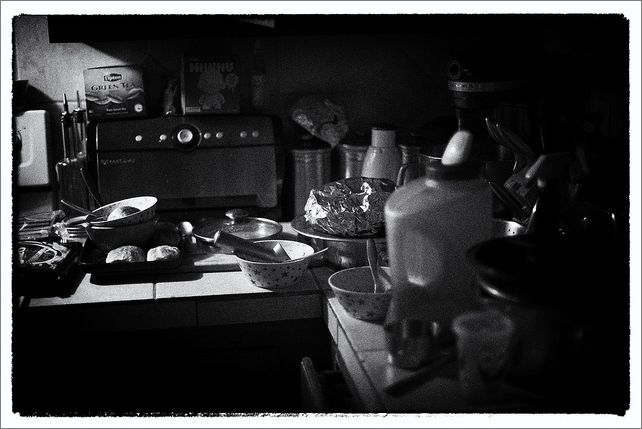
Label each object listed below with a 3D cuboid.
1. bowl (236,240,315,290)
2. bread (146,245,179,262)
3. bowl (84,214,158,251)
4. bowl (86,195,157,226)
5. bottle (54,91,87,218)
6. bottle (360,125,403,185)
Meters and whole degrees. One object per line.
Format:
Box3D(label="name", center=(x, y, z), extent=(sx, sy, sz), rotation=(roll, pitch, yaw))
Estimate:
Box3D(label="bowl", center=(-0.076, 0.125, 1.365), extent=(0.256, 0.093, 0.255), rotation=(-6, 2, 0))
Box3D(label="bread", center=(-0.422, 0.104, 1.369), extent=(0.081, 0.031, 0.084), rotation=(8, 10, 36))
Box3D(label="bowl", center=(-0.556, 0.053, 1.437), extent=(0.183, 0.092, 0.110), rotation=(0, 9, -17))
Box3D(label="bowl", center=(-0.576, -0.009, 1.462), extent=(0.214, 0.051, 0.221), rotation=(-2, 11, 0))
Box3D(label="bottle", center=(-0.897, -0.217, 1.842), extent=(0.108, 0.428, 0.271), rotation=(-2, 10, -27))
Box3D(label="bottle", center=(0.224, -0.218, 1.788), extent=(0.145, 0.189, 0.113), rotation=(-1, 10, -19))
